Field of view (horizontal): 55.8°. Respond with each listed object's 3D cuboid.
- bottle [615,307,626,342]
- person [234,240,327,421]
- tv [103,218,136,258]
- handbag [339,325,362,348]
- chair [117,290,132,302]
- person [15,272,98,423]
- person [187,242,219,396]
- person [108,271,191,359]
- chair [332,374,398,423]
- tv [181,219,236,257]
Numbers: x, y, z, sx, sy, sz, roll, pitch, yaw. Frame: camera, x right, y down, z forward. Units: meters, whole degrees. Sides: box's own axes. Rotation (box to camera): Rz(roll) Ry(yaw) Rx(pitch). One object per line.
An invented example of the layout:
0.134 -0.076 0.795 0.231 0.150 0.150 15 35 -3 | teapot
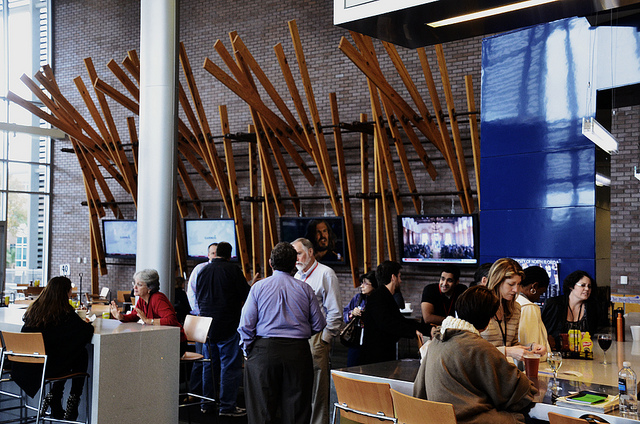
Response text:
3.512 1.326 7.146 0.100 0.389 0.331 -5 -7 26 | bottle
-0.408 1.192 6.181 0.838 1.789 0.301 -2 -6 -3 | person
-4.814 0.638 14.598 0.121 0.973 1.356 -3 -3 18 | tv
0.323 1.380 6.852 0.183 0.298 0.271 -20 15 0 | handbag
-4.335 1.857 13.391 0.263 0.246 0.327 -1 -11 6 | chair
-2.767 1.489 6.450 0.717 1.613 0.751 1 -7 -26 | person
-1.586 1.256 8.563 0.339 1.680 0.484 8 13 17 | person
-2.095 1.304 7.644 0.885 0.684 1.305 8 35 -29 | person
0.433 1.663 5.516 0.445 0.677 0.462 -3 -4 39 | chair
-2.433 0.591 13.321 0.107 0.954 1.585 -6 -5 36 | tv
